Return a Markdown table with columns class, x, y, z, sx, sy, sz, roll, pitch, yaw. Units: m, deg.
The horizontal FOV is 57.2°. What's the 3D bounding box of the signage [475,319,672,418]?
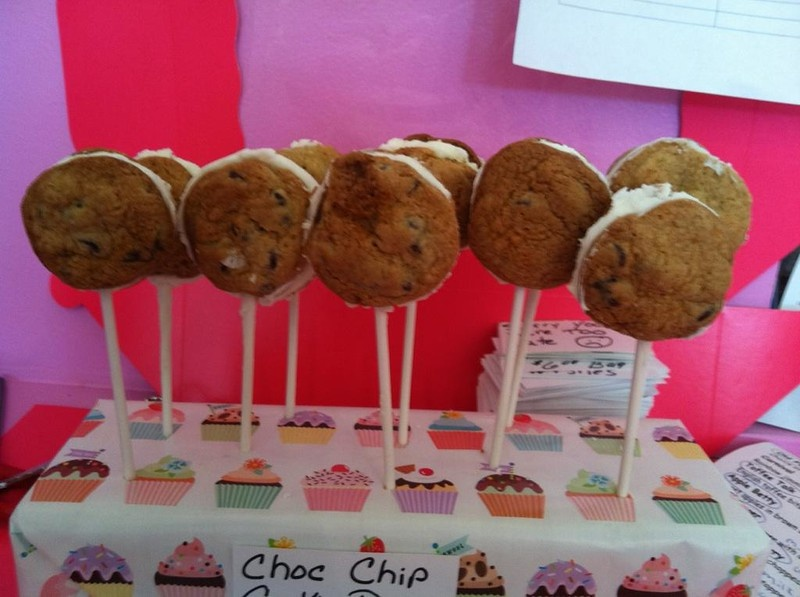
| class | x | y | z | sx | sy | sz | roll | pitch | yaw |
| --- | --- | --- | --- | --- | --- | --- | --- | --- | --- |
| signage | 0.425 | 0.180 | 1.846 | 0.360 | 0.094 | 0.314 | 1 | 22 | -1 |
